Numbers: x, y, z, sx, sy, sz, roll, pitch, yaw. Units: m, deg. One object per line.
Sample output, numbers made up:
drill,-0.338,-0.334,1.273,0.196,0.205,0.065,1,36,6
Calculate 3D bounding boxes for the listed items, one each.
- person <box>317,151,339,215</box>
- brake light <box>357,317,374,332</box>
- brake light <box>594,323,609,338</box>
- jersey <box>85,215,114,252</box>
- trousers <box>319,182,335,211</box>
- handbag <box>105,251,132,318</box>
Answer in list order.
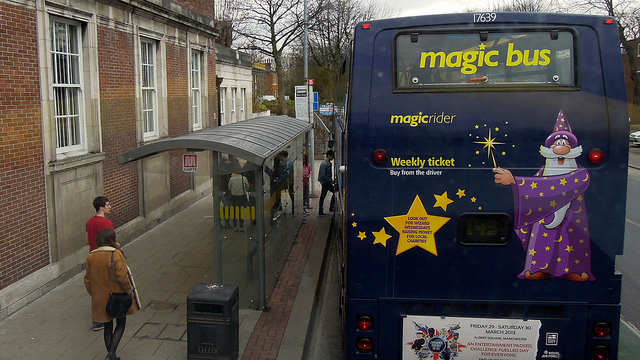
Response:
person,0.262,0.183,18.029,1.019,2.503,0.993,-3,37,-2
brake light,0.764,2.437,9.035,0.251,0.243,0.105,-4,13,6
brake light,4.669,2.470,8.762,0.212,0.239,0.131,6,9,24
jersey,-4.547,1.093,10.920,0.464,0.729,0.323,8,9,38
trousers,0.240,0.624,19.002,0.576,1.338,0.297,1,48,0
handbag,-3.754,1.965,9.860,0.454,1.233,0.179,3,7,6
